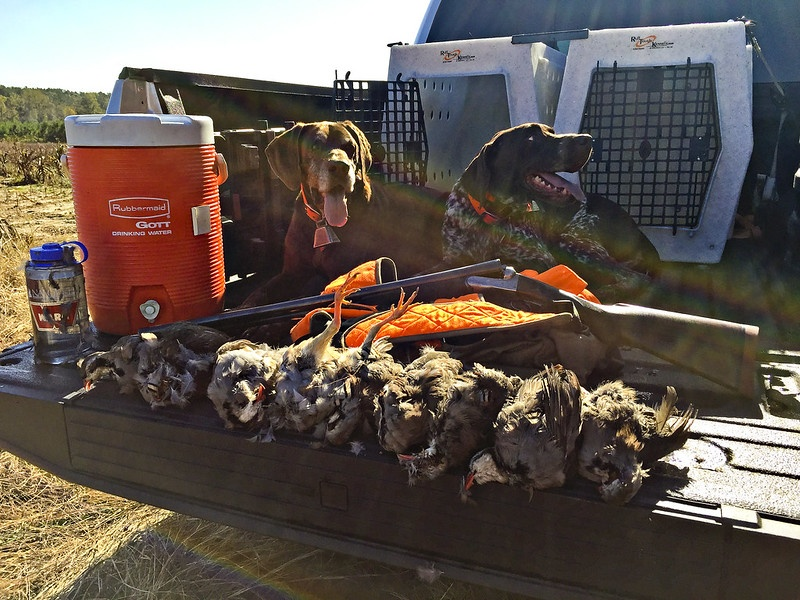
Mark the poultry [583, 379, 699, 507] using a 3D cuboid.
[{"bbox_3d":[0.716,0.432,1.909,0.315,0.305,0.294,7,17,26],"label":"poultry"}]

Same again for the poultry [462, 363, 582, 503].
[{"bbox_3d":[0.387,0.417,1.874,0.342,0.353,0.166,-7,16,-21],"label":"poultry"}]

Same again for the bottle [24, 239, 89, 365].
[{"bbox_3d":[-1.557,0.019,2.832,0.243,0.521,0.217,-10,17,-31],"label":"bottle"}]

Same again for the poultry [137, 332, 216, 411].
[{"bbox_3d":[-0.820,0.270,2.284,0.286,0.255,0.077,2,15,9],"label":"poultry"}]

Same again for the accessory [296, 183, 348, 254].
[{"bbox_3d":[-0.467,-0.462,3.520,0.105,0.350,0.358,-11,18,-34],"label":"accessory"}]

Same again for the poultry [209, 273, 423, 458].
[{"bbox_3d":[-0.175,0.288,2.400,0.863,0.640,0.394,-23,-11,-6],"label":"poultry"}]

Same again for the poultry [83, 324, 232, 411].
[{"bbox_3d":[-0.890,0.238,2.411,0.475,0.267,0.291,-17,-5,5],"label":"poultry"}]

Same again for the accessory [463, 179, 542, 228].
[{"bbox_3d":[0.532,-0.489,3.351,0.280,0.203,0.087,34,53,4],"label":"accessory"}]
